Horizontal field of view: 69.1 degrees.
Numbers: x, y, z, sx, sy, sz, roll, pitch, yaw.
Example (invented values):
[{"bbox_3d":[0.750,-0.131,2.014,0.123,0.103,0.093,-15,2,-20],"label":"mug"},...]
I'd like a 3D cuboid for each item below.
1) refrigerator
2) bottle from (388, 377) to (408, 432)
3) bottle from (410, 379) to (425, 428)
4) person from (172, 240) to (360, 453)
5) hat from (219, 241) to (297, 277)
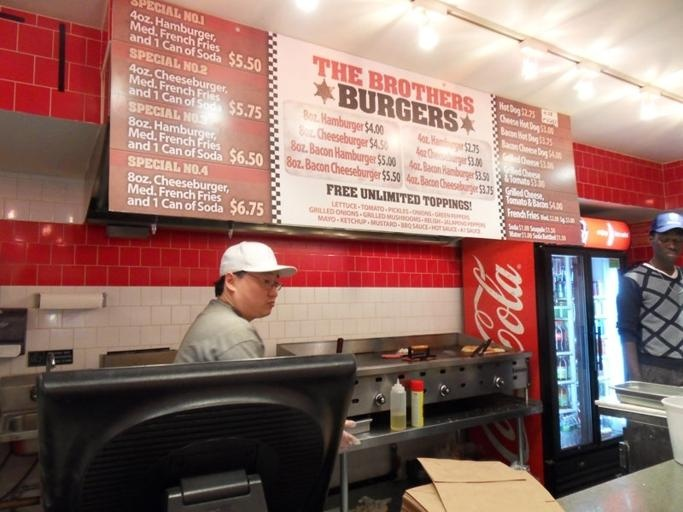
[{"bbox_3d":[2.264,0.977,5.267,1.965,2.337,1.213,2,-2,-40],"label":"refrigerator"},{"bbox_3d":[0.426,1.094,3.704,0.124,0.343,0.281,1,-2,5],"label":"bottle"},{"bbox_3d":[0.573,1.099,3.727,0.095,0.335,0.136,1,-2,4],"label":"bottle"},{"bbox_3d":[-0.394,0.430,2.521,0.959,0.983,0.768,2,-13,-14],"label":"person"},{"bbox_3d":[-0.458,0.024,2.610,0.300,0.140,0.213,2,-2,1],"label":"hat"}]
